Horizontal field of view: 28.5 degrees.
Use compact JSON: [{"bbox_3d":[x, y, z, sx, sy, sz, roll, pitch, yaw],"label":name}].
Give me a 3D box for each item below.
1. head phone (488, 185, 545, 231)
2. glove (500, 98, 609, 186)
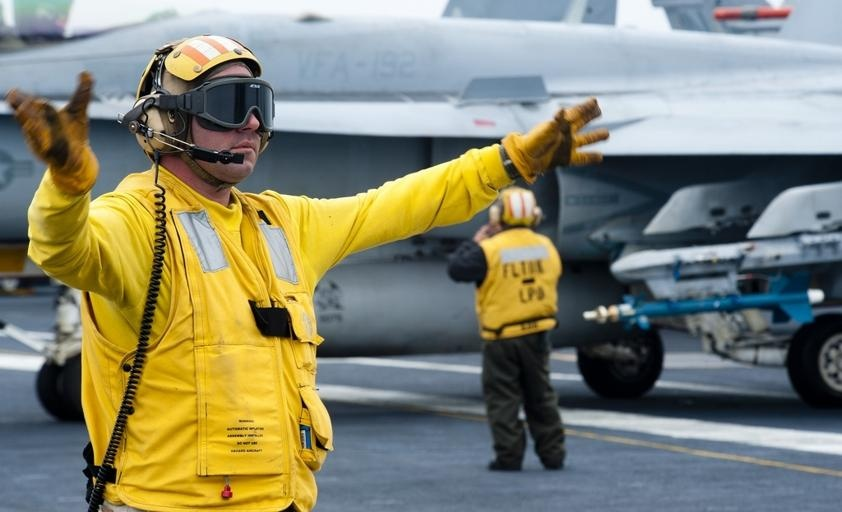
[{"bbox_3d":[0.539,-0.298,9.799,0.313,0.222,0.289,-2,-5,4],"label":"head phone"},{"bbox_3d":[0.642,-0.590,8.137,0.517,0.269,0.173,-21,8,1],"label":"glove"}]
